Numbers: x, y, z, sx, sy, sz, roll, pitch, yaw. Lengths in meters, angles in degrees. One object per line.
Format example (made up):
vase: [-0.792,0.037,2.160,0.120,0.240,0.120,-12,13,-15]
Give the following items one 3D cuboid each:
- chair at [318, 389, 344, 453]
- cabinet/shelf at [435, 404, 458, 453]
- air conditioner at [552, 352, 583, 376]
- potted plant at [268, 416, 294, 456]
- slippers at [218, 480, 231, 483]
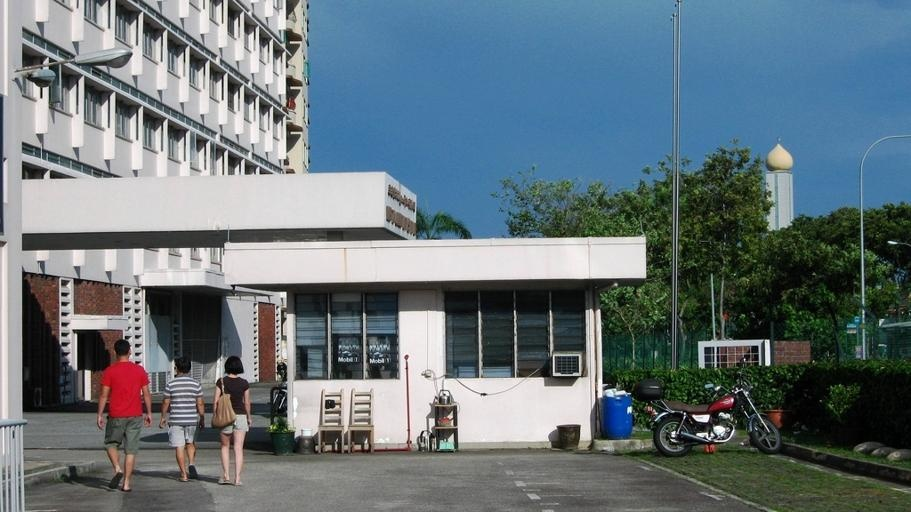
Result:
chair: [-4.395,5.819,45.731,0.867,2.097,0.524,0,-10,-7]
cabinet/shelf: [-0.387,6.010,45.589,0.825,1.667,0.486,-1,-10,0]
air conditioner: [3.815,3.829,45.734,1.215,0.949,0.717,0,-6,-3]
potted plant: [-6.032,6.292,45.459,1.207,1.472,1.101,0,-11,-5]
slippers: [-7.263,7.100,40.896,0.307,0.174,0.171,-5,-11,19]
